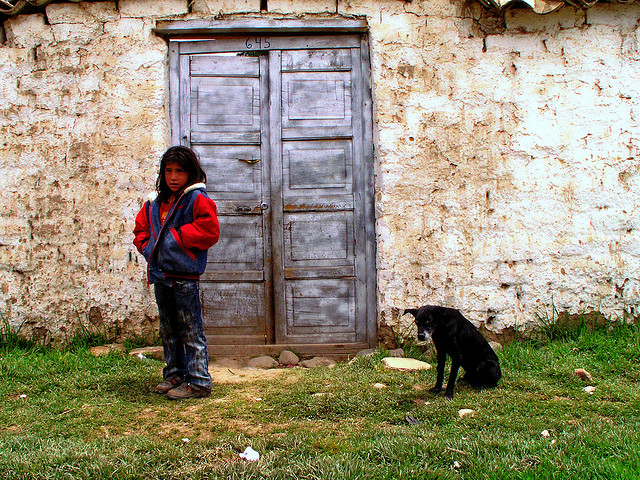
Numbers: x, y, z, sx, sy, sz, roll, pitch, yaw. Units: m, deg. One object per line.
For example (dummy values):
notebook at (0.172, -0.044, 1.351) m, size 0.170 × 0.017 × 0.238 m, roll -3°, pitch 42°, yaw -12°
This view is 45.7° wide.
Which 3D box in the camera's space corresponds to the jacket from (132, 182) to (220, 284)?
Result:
jacket at (-1.225, -0.077, 6.448) m, size 0.952 × 0.857 × 0.498 m, roll -1°, pitch 1°, yaw 38°

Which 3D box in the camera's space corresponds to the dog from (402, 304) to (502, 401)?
dog at (1.095, 0.908, 6.291) m, size 0.777 × 0.747 × 0.356 m, roll 0°, pitch 0°, yaw -30°

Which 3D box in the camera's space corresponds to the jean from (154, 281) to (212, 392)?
jean at (-1.170, 0.809, 6.369) m, size 0.469 × 0.802 × 0.330 m, roll -1°, pitch 0°, yaw 9°

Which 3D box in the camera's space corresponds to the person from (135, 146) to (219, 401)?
person at (-1.196, 0.277, 6.339) m, size 0.741 × 1.813 × 0.368 m, roll -1°, pitch 0°, yaw 6°
